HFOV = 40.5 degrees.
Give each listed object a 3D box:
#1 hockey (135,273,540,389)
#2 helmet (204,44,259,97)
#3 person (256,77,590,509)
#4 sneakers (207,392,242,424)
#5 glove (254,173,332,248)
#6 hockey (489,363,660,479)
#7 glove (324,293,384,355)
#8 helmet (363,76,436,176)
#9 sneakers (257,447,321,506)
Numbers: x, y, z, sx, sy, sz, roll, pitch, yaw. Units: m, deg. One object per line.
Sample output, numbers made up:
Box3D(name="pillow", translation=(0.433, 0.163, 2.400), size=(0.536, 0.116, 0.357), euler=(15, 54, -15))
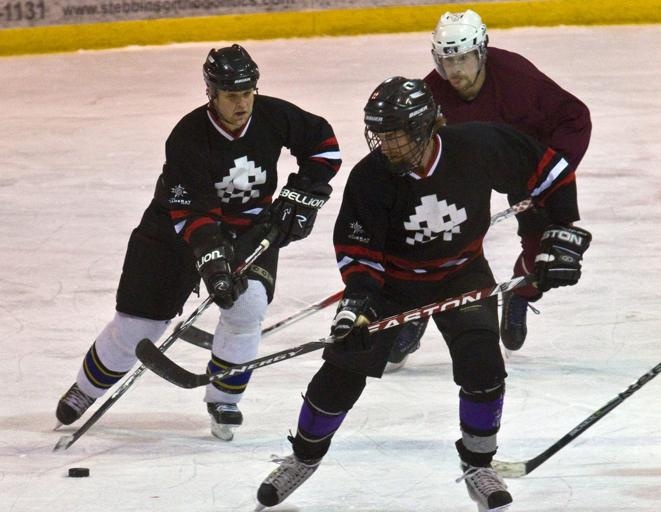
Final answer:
Box3D(name="hockey", translation=(-0.004, 0.252, 3.257), size=(1.316, 0.104, 0.109), euler=(-14, -2, -7))
Box3D(name="helmet", translation=(-0.416, -0.773, 3.752), size=(0.218, 0.213, 0.289), euler=(-4, 18, -6))
Box3D(name="person", translation=(0.407, 0.119, 3.277), size=(0.845, 1.517, 1.022), euler=(9, 24, 23))
Box3D(name="sneakers", translation=(-0.445, 0.661, 3.783), size=(0.079, 0.059, 0.188), euler=(-7, 6, -29))
Box3D(name="glove", translation=(-0.153, -0.184, 3.990), size=(0.276, 0.156, 0.351), euler=(27, 67, 16))
Box3D(name="hockey", translation=(0.989, 0.685, 3.621), size=(0.995, 0.089, 0.097), euler=(-23, -11, -1))
Box3D(name="glove", translation=(0.085, 0.243, 3.209), size=(0.180, 0.184, 0.097), euler=(6, -12, 23))
Box3D(name="helmet", translation=(0.254, -0.470, 3.221), size=(0.265, 0.329, 0.269), euler=(1, 21, 5))
Box3D(name="sneakers", translation=(-0.168, 0.818, 3.307), size=(0.304, 0.115, 0.122), euler=(-29, -16, -24))
